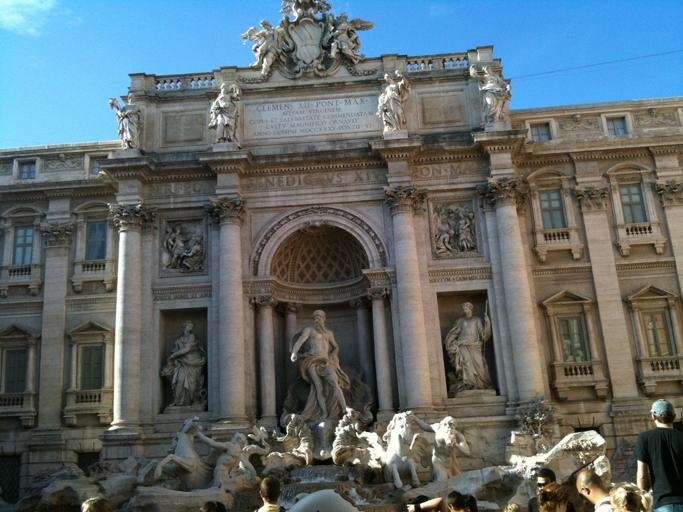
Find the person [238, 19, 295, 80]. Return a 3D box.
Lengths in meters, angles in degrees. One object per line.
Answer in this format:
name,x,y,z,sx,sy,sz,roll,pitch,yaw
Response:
person,-2.870,-8.044,32.692,1.574,2.222,0.632,-1,-17,-6

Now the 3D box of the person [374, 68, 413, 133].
person,1.956,-5.711,31.565,1.187,2.679,0.451,-3,-17,0

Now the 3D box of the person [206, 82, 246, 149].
person,-4.454,-5.442,31.902,1.154,3.023,0.838,0,-17,-7

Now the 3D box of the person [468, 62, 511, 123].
person,5.696,-6.196,31.698,1.459,2.634,0.602,-5,-17,9

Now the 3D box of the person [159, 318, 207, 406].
person,-5.778,3.930,30.693,1.535,3.122,0.698,-3,-17,0
